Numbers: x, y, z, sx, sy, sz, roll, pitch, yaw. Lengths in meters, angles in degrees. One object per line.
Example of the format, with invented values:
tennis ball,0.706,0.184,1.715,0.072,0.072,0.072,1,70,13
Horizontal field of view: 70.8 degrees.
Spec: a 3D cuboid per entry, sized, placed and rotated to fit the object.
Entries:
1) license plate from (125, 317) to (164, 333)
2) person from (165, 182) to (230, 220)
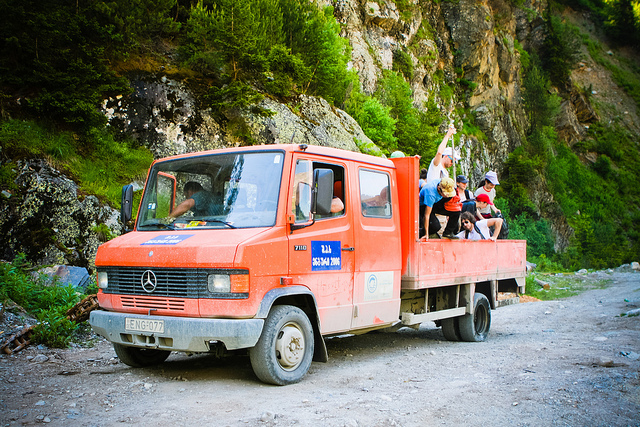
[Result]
license plate,-2.856,1.812,7.329,0.805,0.213,0.013,-1,-2,22
person,-2.057,-0.240,7.782,1.162,0.638,0.197,-1,-2,26
